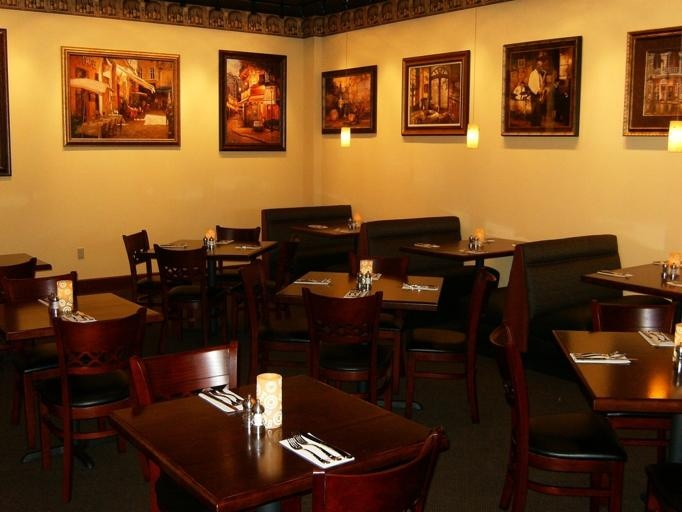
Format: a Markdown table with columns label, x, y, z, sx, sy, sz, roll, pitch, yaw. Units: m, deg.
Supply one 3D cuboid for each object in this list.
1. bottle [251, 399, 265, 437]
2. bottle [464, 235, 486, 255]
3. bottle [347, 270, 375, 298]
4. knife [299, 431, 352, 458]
| label | x | y | z | sx | sy | sz | roll | pitch | yaw |
| --- | --- | --- | --- | --- | --- | --- | --- | --- | --- |
| bottle | -0.333 | 0.644 | 2.308 | 0.055 | 0.109 | 0.095 | -2 | 13 | -10 |
| bottle | 1.476 | -0.126 | 6.385 | 0.233 | 0.280 | 0.241 | 2 | 3 | 27 |
| bottle | 0.152 | 0.228 | 4.434 | 0.111 | 0.141 | 0.223 | 2 | 5 | 24 |
| knife | -0.067 | 0.688 | 2.165 | 0.069 | 0.032 | 0.212 | -2 | 7 | -32 |
